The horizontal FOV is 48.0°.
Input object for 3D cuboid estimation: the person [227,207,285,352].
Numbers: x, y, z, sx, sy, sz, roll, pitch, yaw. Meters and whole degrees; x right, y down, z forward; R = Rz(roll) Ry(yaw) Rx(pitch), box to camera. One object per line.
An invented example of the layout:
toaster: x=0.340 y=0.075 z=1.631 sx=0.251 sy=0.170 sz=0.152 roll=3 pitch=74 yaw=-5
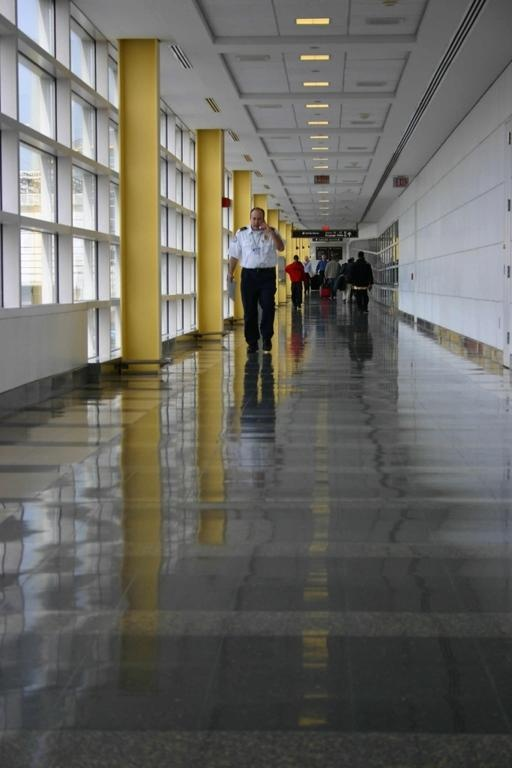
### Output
person: x=-0.023 y=-1.693 z=8.969 sx=0.809 sy=1.992 sz=0.960 roll=-1 pitch=2 yaw=-5
